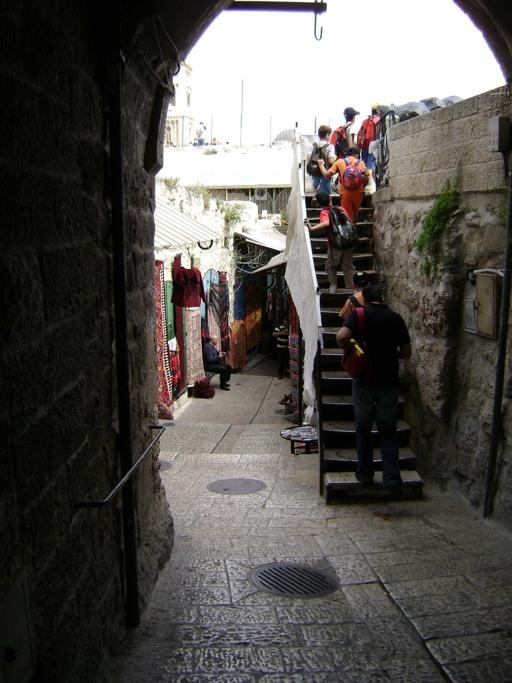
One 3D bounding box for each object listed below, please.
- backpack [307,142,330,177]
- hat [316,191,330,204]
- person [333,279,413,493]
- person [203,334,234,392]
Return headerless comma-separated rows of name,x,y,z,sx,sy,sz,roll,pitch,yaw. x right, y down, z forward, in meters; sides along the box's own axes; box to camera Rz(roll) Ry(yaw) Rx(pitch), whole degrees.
backpack,1.095,-3.279,9.154,0.297,0.607,0.491,1,4,23
hat,1.061,-2.227,7.935,0.134,0.249,0.210,-1,3,-2
person,1.207,0.486,5.169,0.695,2.073,0.536,-1,-2,4
person,-1.112,0.621,14.228,0.845,1.552,0.767,1,-3,-32
